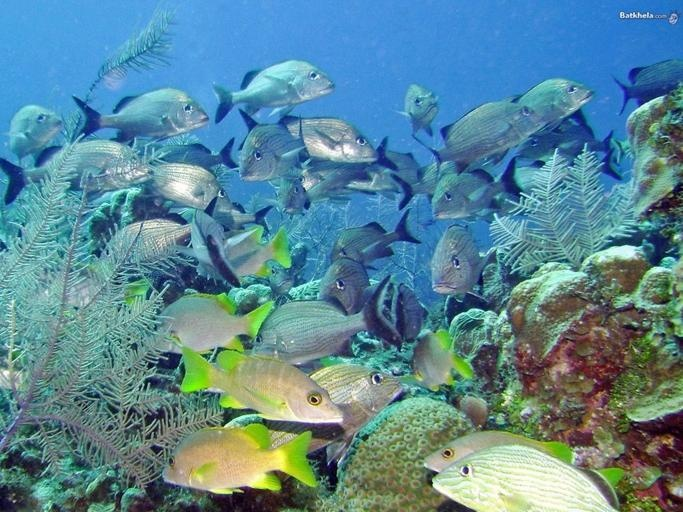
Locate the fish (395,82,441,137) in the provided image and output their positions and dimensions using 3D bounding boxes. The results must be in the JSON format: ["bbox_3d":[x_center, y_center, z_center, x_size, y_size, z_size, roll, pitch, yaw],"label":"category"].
[{"bbox_3d":[1.057,-1.989,8.112,0.507,0.704,0.498,36,74,4],"label":"fish"}]

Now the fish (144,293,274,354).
[{"bbox_3d":[-1.101,0.576,5.184,0.905,0.478,0.493,3,79,5],"label":"fish"}]

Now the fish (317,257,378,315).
[{"bbox_3d":[0.071,0.277,6.677,0.487,0.304,0.906,20,97,12],"label":"fish"}]

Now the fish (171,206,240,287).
[{"bbox_3d":[-1.173,-0.090,5.441,0.348,0.444,0.782,-21,64,-36],"label":"fish"}]

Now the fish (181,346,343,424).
[{"bbox_3d":[-0.567,0.979,4.778,1.317,0.535,0.573,14,88,13],"label":"fish"}]

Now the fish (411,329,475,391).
[{"bbox_3d":[0.842,0.885,5.204,0.480,0.394,0.366,-17,49,17],"label":"fish"}]

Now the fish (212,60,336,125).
[{"bbox_3d":[-0.691,-2.080,7.579,1.231,0.583,0.439,-15,49,19],"label":"fish"}]
